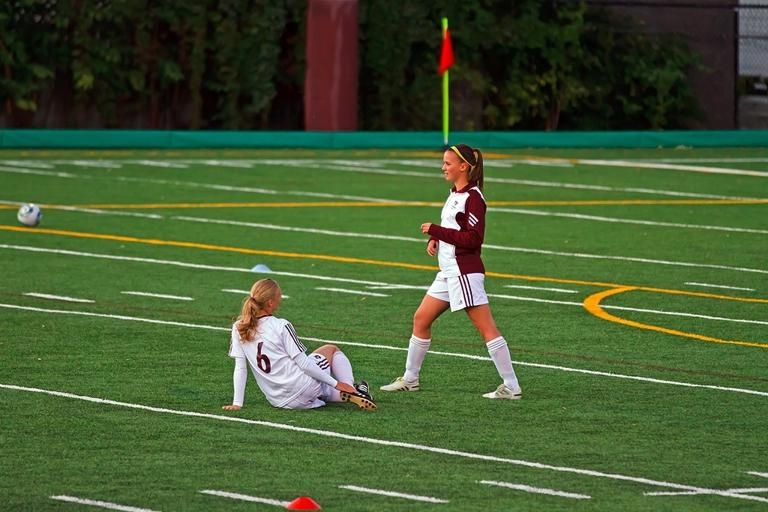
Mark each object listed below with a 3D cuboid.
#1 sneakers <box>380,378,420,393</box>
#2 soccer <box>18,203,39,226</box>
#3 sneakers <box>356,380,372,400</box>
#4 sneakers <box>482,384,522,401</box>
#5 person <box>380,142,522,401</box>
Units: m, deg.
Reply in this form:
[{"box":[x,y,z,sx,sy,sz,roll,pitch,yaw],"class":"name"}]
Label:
[{"box":[0.238,1.754,17.195,0.563,0.194,0.190,1,-2,-2],"class":"sneakers"},{"box":[-6.650,-0.754,24.236,0.402,0.412,0.530,1,2,-16],"class":"soccer"},{"box":[-0.262,1.789,16.693,0.161,0.116,0.351,17,23,-28],"class":"sneakers"},{"box":[1.570,1.818,16.935,0.560,0.190,0.194,3,1,4],"class":"sneakers"},{"box":[1.013,0.216,16.916,1.546,3.352,0.442,2,2,-3],"class":"person"}]
